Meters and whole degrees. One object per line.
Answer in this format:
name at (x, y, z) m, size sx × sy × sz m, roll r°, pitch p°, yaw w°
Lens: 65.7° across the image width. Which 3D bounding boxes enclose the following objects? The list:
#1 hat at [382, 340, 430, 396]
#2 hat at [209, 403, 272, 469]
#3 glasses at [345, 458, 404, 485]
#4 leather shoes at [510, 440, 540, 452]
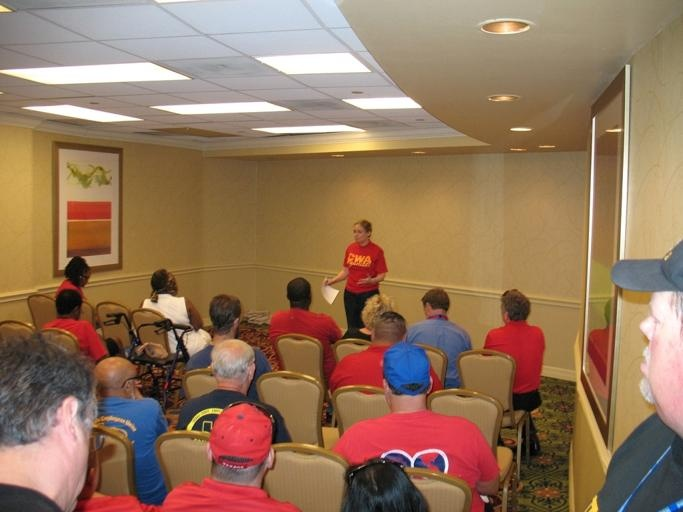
hat at (0.324, 0.559, 2.645) m, size 0.177 × 0.100 × 0.251 m, roll -6°, pitch 45°, yaw 1°
hat at (-0.421, 0.755, 2.232) m, size 0.247 × 0.190 × 0.257 m, roll 0°, pitch 4°, yaw -5°
glasses at (0.114, 0.753, 1.864) m, size 0.201 × 0.088 × 0.147 m, roll 0°, pitch 4°, yaw 1°
leather shoes at (1.678, 1.743, 4.851) m, size 0.246 × 0.113 × 0.147 m, roll -2°, pitch 9°, yaw 15°
